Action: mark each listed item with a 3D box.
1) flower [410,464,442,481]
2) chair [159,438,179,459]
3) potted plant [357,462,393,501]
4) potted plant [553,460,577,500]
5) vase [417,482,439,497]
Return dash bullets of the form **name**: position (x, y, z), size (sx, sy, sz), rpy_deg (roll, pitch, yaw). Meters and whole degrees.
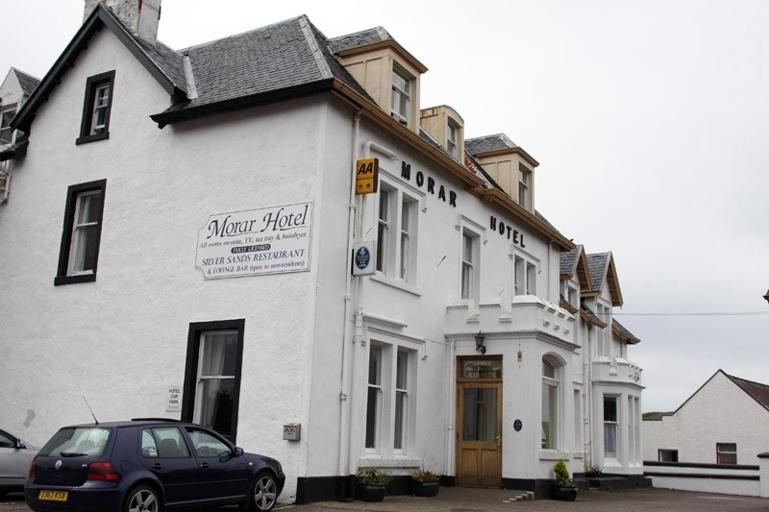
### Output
- **flower**: position (1.061, 6.187, 20.148), size (0.663, 0.347, 0.656), rpy_deg (6, -11, -21)
- **chair**: position (-4.387, 3.903, 14.483), size (0.381, 0.369, 0.348), rpy_deg (9, -26, -24)
- **potted plant**: position (-0.326, 5.881, 18.340), size (0.850, 0.785, 0.874), rpy_deg (5, -18, -21)
- **potted plant**: position (5.425, 6.761, 21.530), size (0.657, 1.178, 0.641), rpy_deg (-1, -18, 9)
- **vase**: position (1.187, 6.457, 19.696), size (0.462, 0.273, 0.380), rpy_deg (2, -12, -9)
